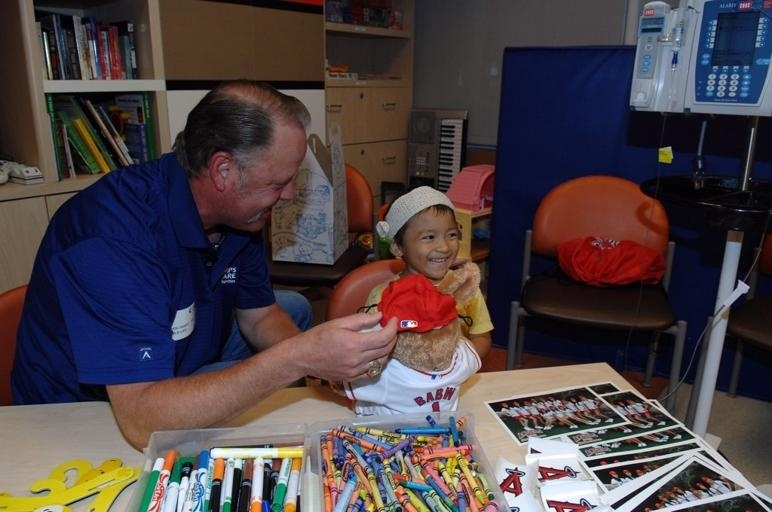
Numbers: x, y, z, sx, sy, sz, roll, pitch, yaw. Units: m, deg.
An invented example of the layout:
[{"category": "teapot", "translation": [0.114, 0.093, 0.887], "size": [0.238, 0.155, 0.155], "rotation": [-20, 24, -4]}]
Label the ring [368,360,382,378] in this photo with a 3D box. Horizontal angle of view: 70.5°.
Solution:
[{"category": "ring", "translation": [-0.032, 0.324, 1.591], "size": [0.020, 0.051, 0.038], "rotation": [19, 2, 42]}]

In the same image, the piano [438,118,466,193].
[{"category": "piano", "translation": [0.531, -0.836, 4.496], "size": [0.233, 0.587, 0.135], "rotation": [1, 18, 4]}]

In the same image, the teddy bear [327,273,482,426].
[{"category": "teddy bear", "translation": [0.043, 0.360, 1.802], "size": [0.623, 0.584, 0.360], "rotation": [-1, 40, -8]}]

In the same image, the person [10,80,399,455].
[{"category": "person", "translation": [-0.644, 0.006, 1.697], "size": [1.210, 1.052, 0.652], "rotation": [-3, 18, -9]}]
